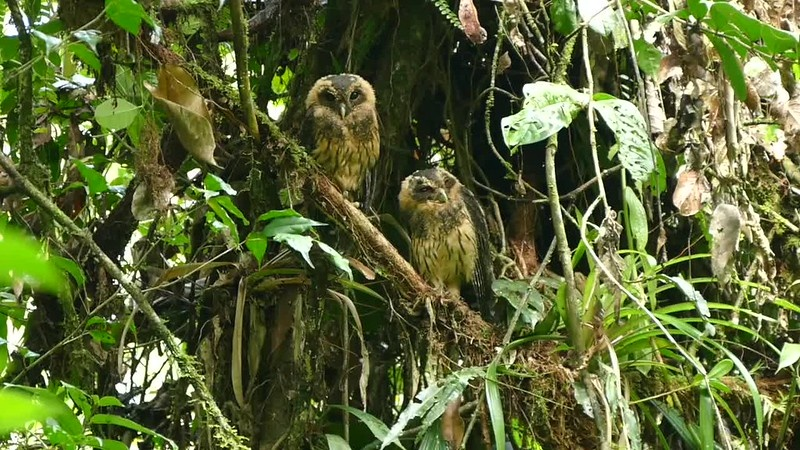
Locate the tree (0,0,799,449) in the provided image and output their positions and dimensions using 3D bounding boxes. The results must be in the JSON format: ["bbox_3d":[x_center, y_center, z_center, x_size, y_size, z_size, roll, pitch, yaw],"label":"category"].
[{"bbox_3d":[0.408,-0.073,5.848,3.091,2.554,1.206,0,-13,8],"label":"tree"}]
